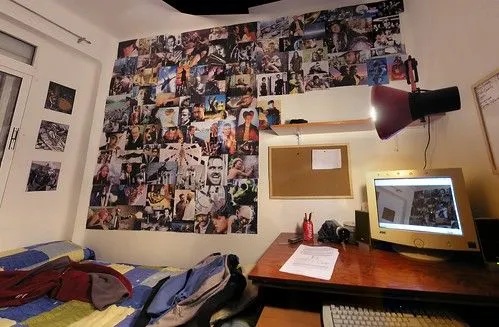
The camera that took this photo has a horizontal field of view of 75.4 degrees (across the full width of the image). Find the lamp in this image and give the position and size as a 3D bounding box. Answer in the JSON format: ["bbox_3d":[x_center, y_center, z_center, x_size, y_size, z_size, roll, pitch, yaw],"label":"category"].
[{"bbox_3d":[1.445,-0.508,2.971,0.761,0.811,0.587,-7,-10,30],"label":"lamp"}]

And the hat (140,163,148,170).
[{"bbox_3d":[-1.276,0.037,3.911,0.063,0.081,0.081,8,2,-2],"label":"hat"}]
